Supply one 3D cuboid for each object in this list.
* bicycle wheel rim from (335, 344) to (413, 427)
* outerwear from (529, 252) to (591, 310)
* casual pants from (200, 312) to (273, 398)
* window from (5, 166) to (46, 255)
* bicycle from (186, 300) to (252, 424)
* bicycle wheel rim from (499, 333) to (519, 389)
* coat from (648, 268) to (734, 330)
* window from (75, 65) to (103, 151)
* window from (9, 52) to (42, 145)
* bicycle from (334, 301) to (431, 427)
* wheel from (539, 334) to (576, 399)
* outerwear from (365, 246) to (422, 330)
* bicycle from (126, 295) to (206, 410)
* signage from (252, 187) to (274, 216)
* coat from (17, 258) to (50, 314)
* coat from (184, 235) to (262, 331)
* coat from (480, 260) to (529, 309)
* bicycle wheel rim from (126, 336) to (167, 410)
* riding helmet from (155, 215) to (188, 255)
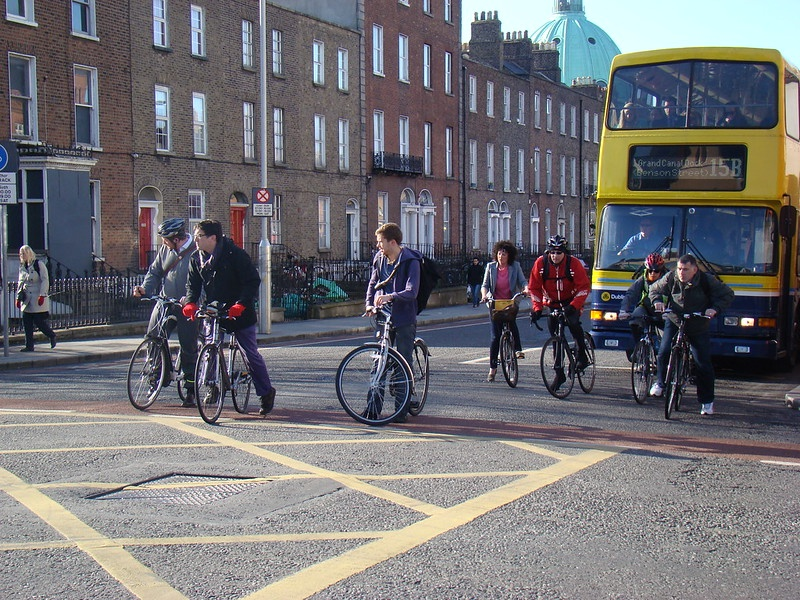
[{"bbox_3d":[-0.270,0.995,10.962,0.904,1.094,0.128,0,23,1],"label":"bicycle wheel rim"},{"bbox_3d":[2.304,-0.237,13.615,0.794,0.995,0.748,-1,1,7],"label":"outerwear"},{"bbox_3d":[-1.892,0.659,10.811,0.621,1.148,1.721,-10,-13,-8],"label":"casual pants"},{"bbox_3d":[-10.095,-2.364,25.406,1.241,2.231,0.443,1,3,20],"label":"window"},{"bbox_3d":[-2.098,0.781,11.367,0.737,1.299,1.905,-1,-3,10],"label":"bicycle"},{"bbox_3d":[1.640,0.911,14.238,0.255,0.838,0.333,1,3,7],"label":"bicycle wheel rim"},{"bbox_3d":[3.694,-0.064,12.033,0.979,0.699,0.656,5,23,29],"label":"coat"},{"bbox_3d":[-9.724,-5.873,28.753,0.143,2.452,1.019,1,4,25],"label":"window"},{"bbox_3d":[-10.735,-5.745,26.814,0.866,2.423,0.560,-2,4,-43],"label":"window"},{"bbox_3d":[-0.136,0.794,10.991,0.784,1.363,1.974,9,-1,26],"label":"bicycle"},{"bbox_3d":[2.237,0.969,13.208,0.117,0.844,0.746,-5,-4,-32],"label":"wheel"},{"bbox_3d":[-0.093,-0.159,11.198,0.691,0.873,0.526,13,19,36],"label":"outerwear"},{"bbox_3d":[-2.953,0.751,12.249,0.774,1.318,1.957,7,-4,15],"label":"bicycle"},{"bbox_3d":[-3.278,-2.325,22.641,0.456,0.682,0.596,0,3,-14],"label":"signage"},{"bbox_3d":[-7.259,-0.255,18.591,0.558,1.133,0.375,-5,-3,2],"label":"coat"},{"bbox_3d":[-2.134,-0.124,11.284,0.876,1.290,0.791,-9,-15,10],"label":"coat"},{"bbox_3d":[1.611,-0.239,14.684,0.656,0.666,0.398,-6,-8,12],"label":"coat"},{"bbox_3d":[-3.144,0.943,11.832,0.606,0.950,0.420,-2,4,-41],"label":"bicycle wheel rim"},{"bbox_3d":[-2.981,-0.865,12.240,0.404,0.464,0.382,7,35,1],"label":"riding helmet"}]
